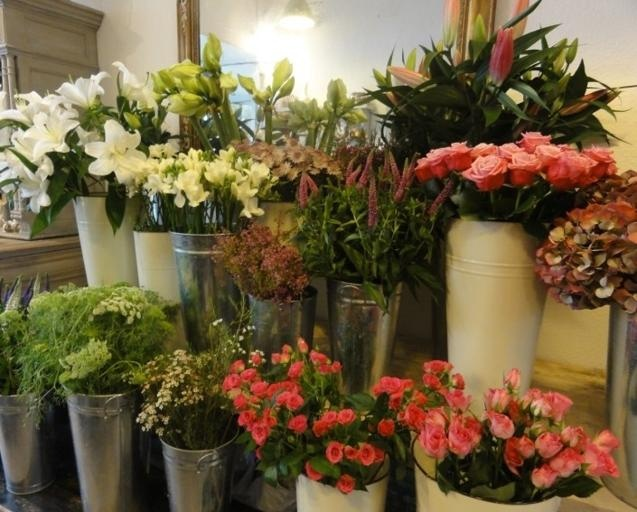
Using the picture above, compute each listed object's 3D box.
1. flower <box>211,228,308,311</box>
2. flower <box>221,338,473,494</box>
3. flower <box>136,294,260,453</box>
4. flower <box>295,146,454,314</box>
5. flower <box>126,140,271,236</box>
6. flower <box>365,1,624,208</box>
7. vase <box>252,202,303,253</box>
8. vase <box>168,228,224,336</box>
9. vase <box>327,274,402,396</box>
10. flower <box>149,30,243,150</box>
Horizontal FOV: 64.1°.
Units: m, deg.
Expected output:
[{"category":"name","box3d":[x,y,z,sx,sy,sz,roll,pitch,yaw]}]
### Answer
[{"category":"flower","box3d":[-0.117,0.044,1.255,0.185,0.245,0.174,-6,23,27]},{"category":"flower","box3d":[0.042,0.296,1.007,0.334,0.220,0.325,-16,18,-33]},{"category":"flower","box3d":[-0.290,0.231,1.255,0.280,0.367,0.301,-2,5,36]},{"category":"flower","box3d":[0.118,-0.061,1.217,0.328,0.367,0.341,-3,4,-10]},{"category":"flower","box3d":[-0.277,-0.171,1.350,0.261,0.169,0.279,1,3,2]},{"category":"flower","box3d":[0.394,-0.366,1.164,0.427,0.252,0.464,0,0,9]},{"category":"vase","box3d":[-0.111,-0.074,1.270,0.096,0.092,0.114,1,6,-2]},{"category":"vase","box3d":[-0.287,0.078,1.344,0.158,0.298,0.175,0,10,8]},{"category":"vase","box3d":[0.097,0.161,1.288,0.197,0.334,0.245,2,4,20]},{"category":"flower","box3d":[-0.344,-0.454,1.438,0.238,0.287,0.169,-2,5,-6]}]
